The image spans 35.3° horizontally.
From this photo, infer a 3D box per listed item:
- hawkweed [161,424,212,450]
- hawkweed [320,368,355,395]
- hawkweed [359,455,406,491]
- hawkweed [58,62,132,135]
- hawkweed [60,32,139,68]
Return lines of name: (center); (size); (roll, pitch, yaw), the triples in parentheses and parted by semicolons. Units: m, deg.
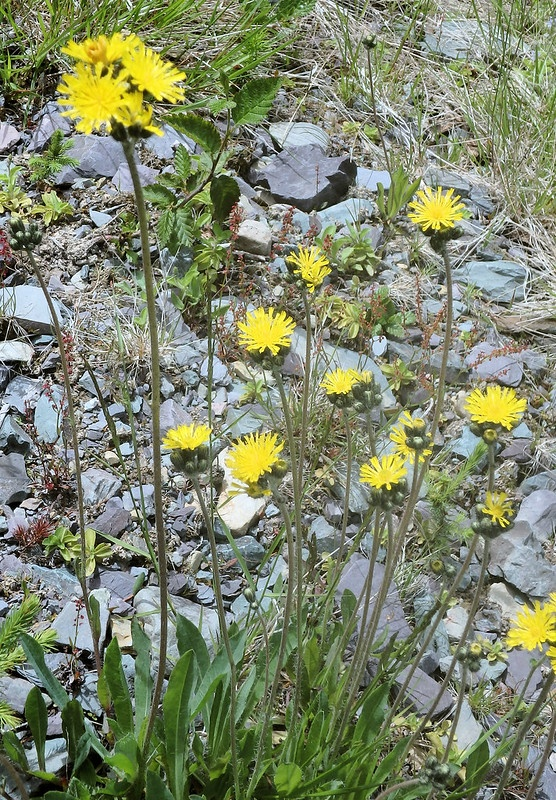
hawkweed: (-0.179, 0.064, 1.700); (0.076, 0.032, 0.073); (-7, 23, -5)
hawkweed: (0.126, -0.039, 1.920); (0.067, 0.030, 0.063); (22, 66, 23)
hawkweed: (0.222, 0.154, 1.821); (0.083, 0.029, 0.078); (13, 49, 31)
hawkweed: (-0.273, -0.451, 1.266); (0.128, 0.109, 0.043); (-12, -6, -6)
hawkweed: (-0.254, -0.512, 1.298); (0.080, 0.036, 0.082); (10, 18, 33)
